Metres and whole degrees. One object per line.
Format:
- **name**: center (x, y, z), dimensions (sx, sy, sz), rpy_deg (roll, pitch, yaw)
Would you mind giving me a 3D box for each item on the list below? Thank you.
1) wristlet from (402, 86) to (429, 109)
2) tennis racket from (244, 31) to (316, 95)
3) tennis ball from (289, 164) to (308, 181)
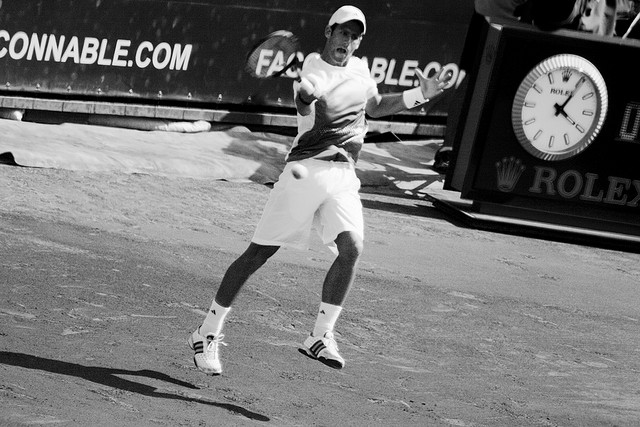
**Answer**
- **wristlet**: center (0.566, -0.674, 4.334), dimensions (0.109, 0.142, 0.144), rpy_deg (-5, 2, 37)
- **tennis racket**: center (-0.284, -1.256, 6.196), dimensions (0.864, 0.493, 0.138), rpy_deg (-3, 45, -51)
- **tennis ball**: center (-0.114, -0.223, 4.055), dimensions (0.101, 0.068, 0.044), rpy_deg (11, 5, -2)
